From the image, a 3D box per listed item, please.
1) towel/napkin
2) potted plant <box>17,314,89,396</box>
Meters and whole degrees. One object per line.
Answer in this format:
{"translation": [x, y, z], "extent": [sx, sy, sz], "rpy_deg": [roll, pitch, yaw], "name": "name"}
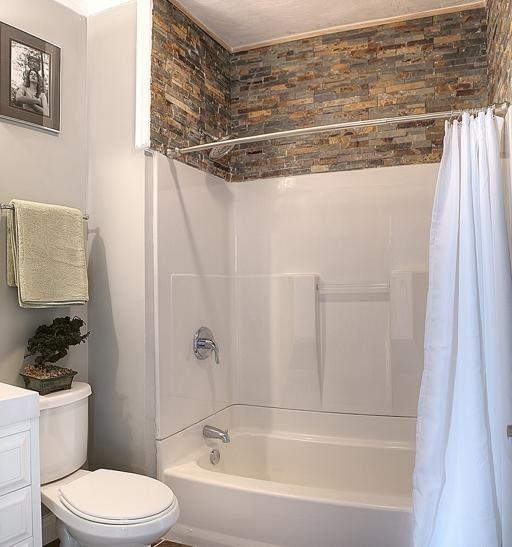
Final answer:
{"translation": [-0.974, -0.084, 2.288], "extent": [0.119, 0.541, 0.485], "rpy_deg": [-1, -3, 32], "name": "towel/napkin"}
{"translation": [-0.935, 0.369, 2.330], "extent": [0.178, 0.357, 0.249], "rpy_deg": [12, 3, 22], "name": "potted plant"}
